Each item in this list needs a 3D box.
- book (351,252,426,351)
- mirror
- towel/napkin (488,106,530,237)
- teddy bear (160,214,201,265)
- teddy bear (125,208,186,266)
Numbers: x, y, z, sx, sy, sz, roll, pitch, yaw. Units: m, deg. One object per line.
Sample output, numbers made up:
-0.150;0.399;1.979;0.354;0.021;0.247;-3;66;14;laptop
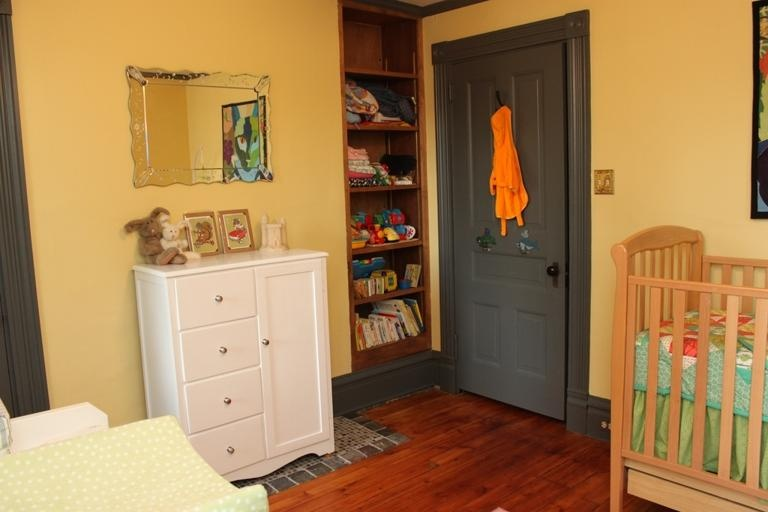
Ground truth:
-0.016;0.340;4.706;0.738;0.686;0.364;-11;17;-32;book
-1.232;-0.836;3.683;0.823;0.618;0.068;-8;14;-37;mirror
0.916;-0.619;4.240;0.161;0.947;0.333;-8;15;-22;towel/napkin
-1.270;-0.115;3.574;0.232;0.301;0.243;5;-9;-37;teddy bear
-1.396;-0.113;3.525;0.281;0.335;0.314;7;20;21;teddy bear
